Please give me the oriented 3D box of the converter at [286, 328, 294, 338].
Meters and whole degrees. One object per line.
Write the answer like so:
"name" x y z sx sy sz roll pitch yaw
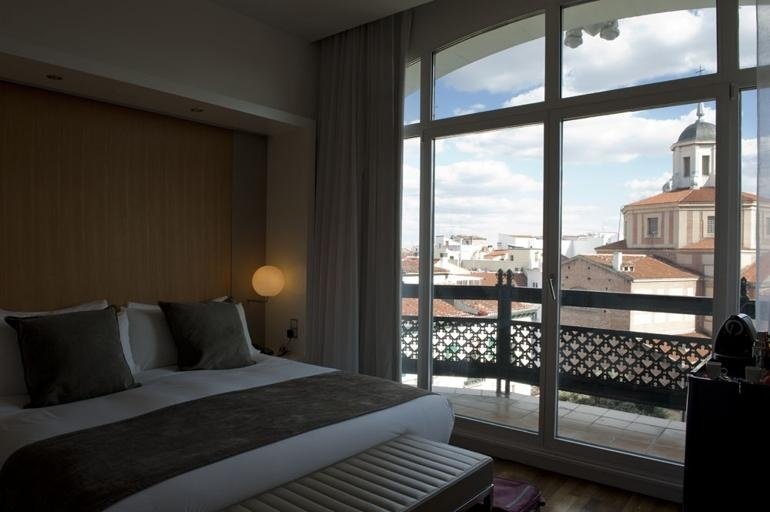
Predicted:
"converter" -0.949 0.770 5.693 0.109 0.103 0.058 1 0 42

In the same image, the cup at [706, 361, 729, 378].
"cup" 1.904 0.652 3.329 0.089 0.098 0.145 4 -3 -36

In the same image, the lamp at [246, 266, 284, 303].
"lamp" -1.177 0.251 5.730 0.338 0.358 0.324 -4 16 -23

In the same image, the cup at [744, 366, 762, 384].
"cup" 2.050 0.664 3.163 0.071 0.087 0.096 -1 -1 40
